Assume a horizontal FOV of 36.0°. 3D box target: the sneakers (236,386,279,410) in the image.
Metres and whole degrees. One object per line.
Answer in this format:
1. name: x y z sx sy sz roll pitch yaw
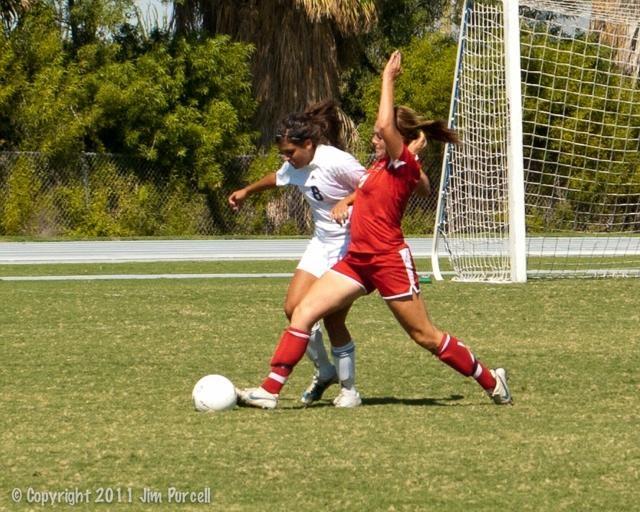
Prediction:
1. sneakers: -0.479 1.105 7.688 0.381 0.163 0.136 15 -8 7

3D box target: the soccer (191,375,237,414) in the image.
1. soccer: -0.820 1.053 7.584 0.267 0.295 0.245 -15 -33 -20

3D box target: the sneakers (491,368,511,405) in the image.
1. sneakers: 1.437 1.054 7.751 0.113 0.336 0.159 -28 -56 33
